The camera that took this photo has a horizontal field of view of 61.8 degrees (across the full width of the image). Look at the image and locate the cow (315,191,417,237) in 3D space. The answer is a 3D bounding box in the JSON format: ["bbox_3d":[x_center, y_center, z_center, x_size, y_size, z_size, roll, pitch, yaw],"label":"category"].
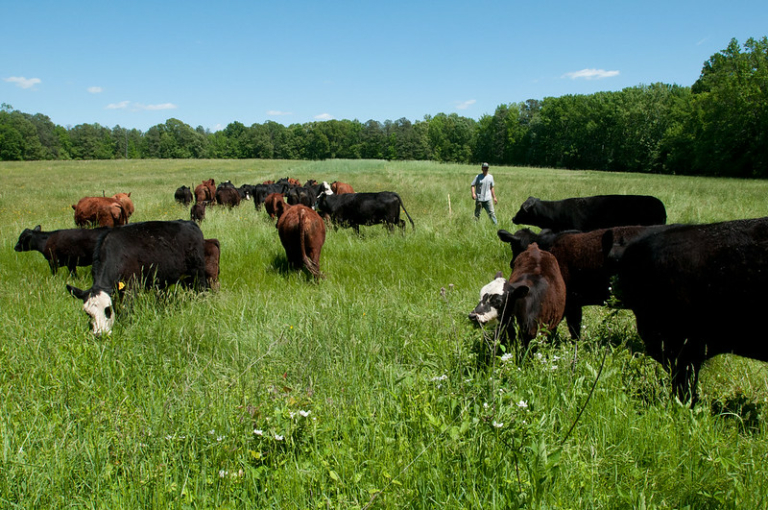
[{"bbox_3d":[-0.659,-1.277,18.919,3.241,1.627,1.072,4,12,21],"label":"cow"}]
